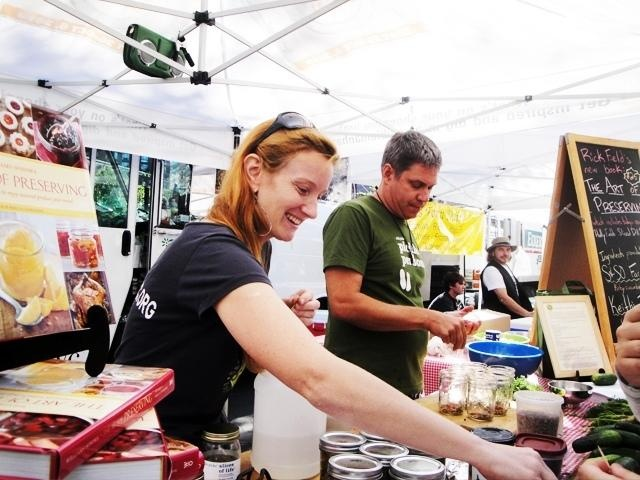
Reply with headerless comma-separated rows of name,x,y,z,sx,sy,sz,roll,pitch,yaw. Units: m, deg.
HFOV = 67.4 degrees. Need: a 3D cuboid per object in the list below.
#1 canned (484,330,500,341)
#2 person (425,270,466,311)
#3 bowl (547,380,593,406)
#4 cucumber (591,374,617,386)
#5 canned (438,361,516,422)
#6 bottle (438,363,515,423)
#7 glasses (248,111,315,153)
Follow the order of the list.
canned,1.053,0.583,2.910,0.078,0.050,0.078,1,-3,-25
person,1.692,0.697,6.559,0.587,0.466,0.788,-1,3,7
bowl,1.101,0.662,2.096,0.135,0.049,0.122,2,-2,4
cucumber,1.349,0.667,2.271,0.122,0.048,0.049,-4,1,-5
canned,0.647,0.641,2.009,0.211,0.124,0.250,1,-5,-2
bottle,0.636,0.630,1.959,0.204,0.121,0.258,1,-6,4
glasses,-0.138,-0.360,1.595,0.182,0.049,0.154,-28,-12,13
